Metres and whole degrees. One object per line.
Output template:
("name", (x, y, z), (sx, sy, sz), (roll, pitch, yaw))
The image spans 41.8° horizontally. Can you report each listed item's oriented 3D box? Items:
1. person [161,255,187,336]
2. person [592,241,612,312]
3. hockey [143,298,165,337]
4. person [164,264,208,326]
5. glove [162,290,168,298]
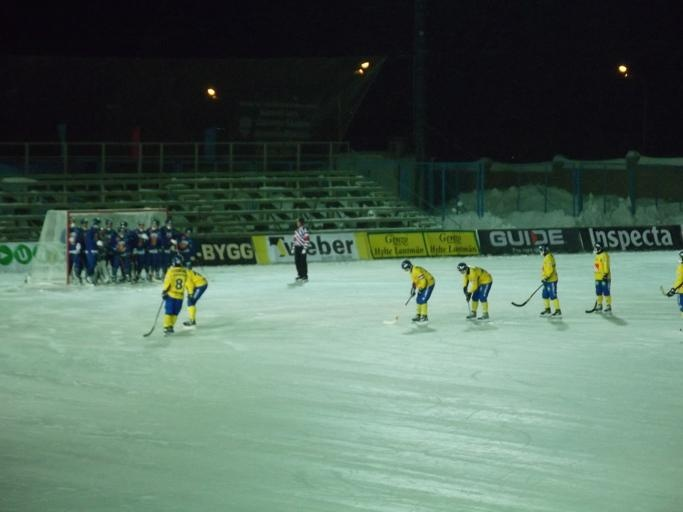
("person", (-3.817, 0.949, 20.581), (0.578, 1.820, 1.165), (-3, 12, -12))
("person", (6.745, 0.550, 23.089), (0.468, 1.885, 1.459), (3, 12, 17))
("hockey", (-4.699, 1.591, 22.498), (0.275, 0.205, 1.183), (23, -38, -4))
("person", (-3.633, 0.737, 20.679), (0.964, 2.099, 0.737), (-5, 33, -16))
("glove", (-3.929, 0.875, 20.026), (0.070, 0.210, 0.199), (1, 11, 5))
